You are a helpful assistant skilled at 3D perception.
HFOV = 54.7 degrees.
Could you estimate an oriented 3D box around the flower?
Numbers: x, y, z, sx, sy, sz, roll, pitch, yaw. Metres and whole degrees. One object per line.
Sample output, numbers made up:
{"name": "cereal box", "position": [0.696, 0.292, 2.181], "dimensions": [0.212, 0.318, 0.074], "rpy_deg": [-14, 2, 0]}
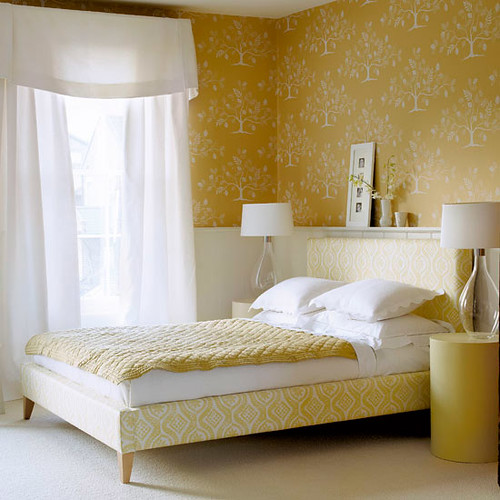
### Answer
{"name": "flower", "position": [0.967, -0.544, 3.719], "dimensions": [0.138, 0.310, 0.585], "rpy_deg": [-5, 8, -25]}

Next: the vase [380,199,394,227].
{"name": "vase", "position": [1.024, -0.280, 3.612], "dimensions": [0.091, 0.216, 0.104], "rpy_deg": [2, 8, 26]}
